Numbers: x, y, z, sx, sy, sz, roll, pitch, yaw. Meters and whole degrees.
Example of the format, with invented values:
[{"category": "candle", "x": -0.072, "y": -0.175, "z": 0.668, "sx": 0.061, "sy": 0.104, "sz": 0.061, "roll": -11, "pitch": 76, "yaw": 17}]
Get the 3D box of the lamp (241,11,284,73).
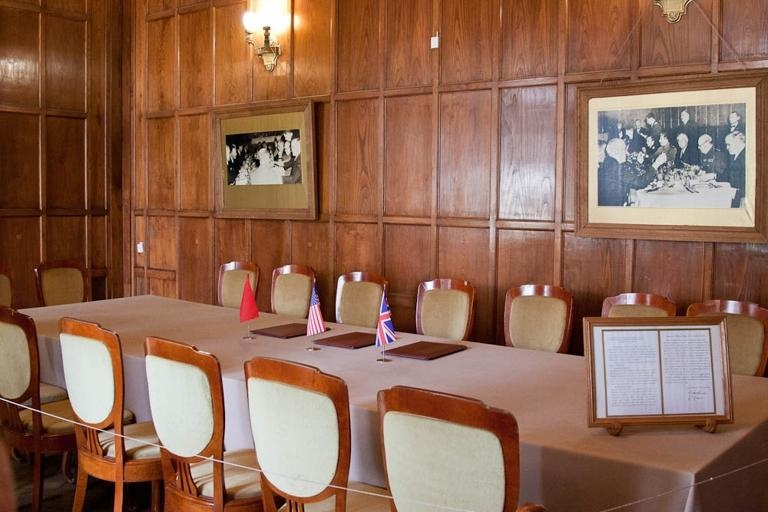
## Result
[{"category": "lamp", "x": -1.314, "y": -2.225, "z": 6.605, "sx": 0.306, "sy": 0.577, "sz": 0.337, "roll": 0, "pitch": 3, "yaw": -40}]
